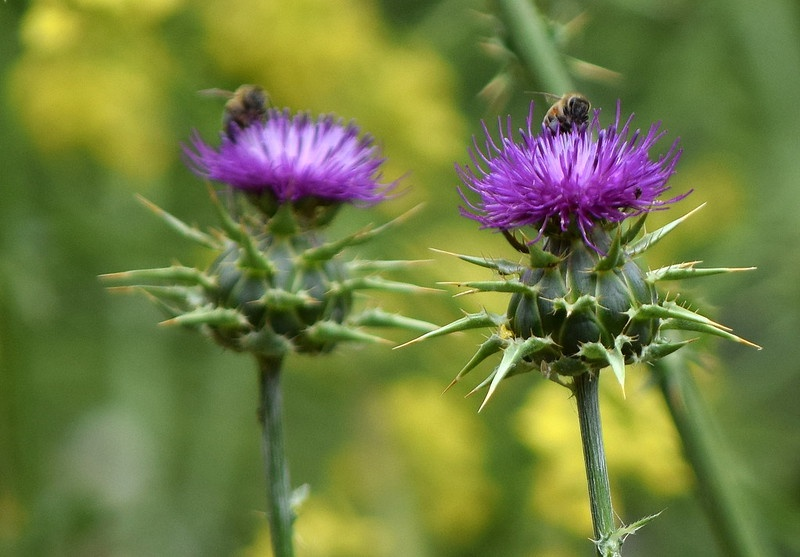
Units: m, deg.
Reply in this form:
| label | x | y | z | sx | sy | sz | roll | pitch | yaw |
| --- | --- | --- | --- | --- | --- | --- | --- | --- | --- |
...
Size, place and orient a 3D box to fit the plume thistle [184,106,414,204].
| label | x | y | z | sx | sy | sz | roll | pitch | yaw |
| --- | --- | --- | --- | --- | --- | --- | --- | --- | --- |
| plume thistle | -0.439 | -0.452 | 3.679 | 0.836 | 0.420 | 0.878 | 1 | -4 | -11 |

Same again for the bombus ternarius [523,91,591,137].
| label | x | y | z | sx | sy | sz | roll | pitch | yaw |
| --- | --- | --- | --- | --- | --- | --- | --- | --- | --- |
| bombus ternarius | 0.590 | -0.629 | 3.409 | 0.313 | 0.164 | 0.313 | -3 | 1 | 0 |

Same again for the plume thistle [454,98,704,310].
| label | x | y | z | sx | sy | sz | roll | pitch | yaw |
| --- | --- | --- | --- | --- | --- | --- | --- | --- | --- |
| plume thistle | 0.595 | -0.244 | 3.317 | 0.565 | 0.812 | 0.583 | -2 | 6 | -11 |
